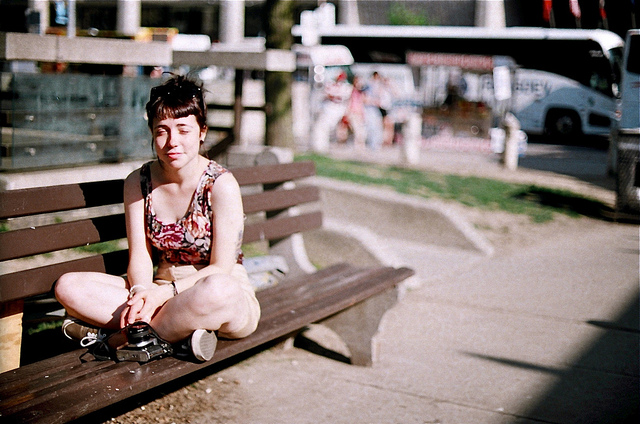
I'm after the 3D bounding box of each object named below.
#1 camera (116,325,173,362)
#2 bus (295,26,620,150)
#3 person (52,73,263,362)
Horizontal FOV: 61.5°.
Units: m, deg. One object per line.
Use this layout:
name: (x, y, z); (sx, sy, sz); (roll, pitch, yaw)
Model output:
camera: (-0.986, 0.694, 2.962); (0.192, 0.133, 0.195); (2, 2, 26)
bus: (4.169, -3.632, 16.634); (9.451, 3.370, 3.006); (-2, 5, -5)
person: (-0.916, 0.061, 3.198); (1.169, 1.654, 1.285); (-4, 7, -32)
